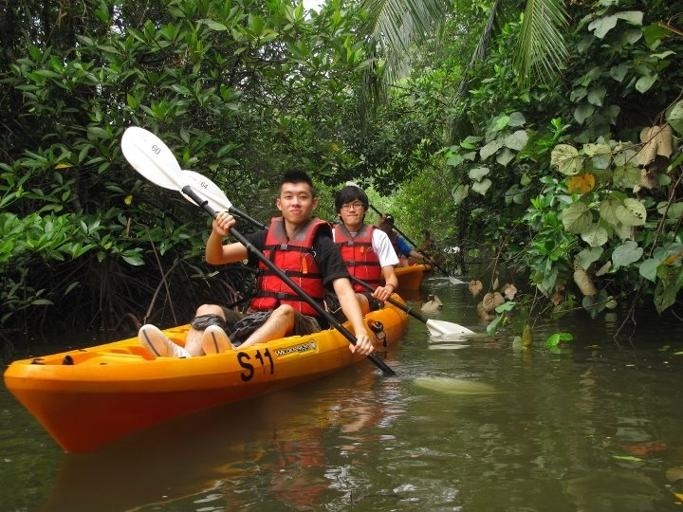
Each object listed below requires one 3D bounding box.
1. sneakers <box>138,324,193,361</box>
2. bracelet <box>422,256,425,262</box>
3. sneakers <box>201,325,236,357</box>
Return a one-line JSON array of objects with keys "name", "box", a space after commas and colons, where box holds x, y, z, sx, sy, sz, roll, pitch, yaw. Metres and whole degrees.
[{"name": "sneakers", "box": [-1.150, 0.558, 3.733, 0.125, 0.340, 0.185, -43, 20, 3]}, {"name": "bracelet", "box": [1.553, 0.060, 10.982, 0.073, 0.030, 0.093, -4, -26, 4]}, {"name": "sneakers", "box": [-0.824, 0.582, 3.848, 0.107, 0.119, 0.279, -15, -36, -7]}]
